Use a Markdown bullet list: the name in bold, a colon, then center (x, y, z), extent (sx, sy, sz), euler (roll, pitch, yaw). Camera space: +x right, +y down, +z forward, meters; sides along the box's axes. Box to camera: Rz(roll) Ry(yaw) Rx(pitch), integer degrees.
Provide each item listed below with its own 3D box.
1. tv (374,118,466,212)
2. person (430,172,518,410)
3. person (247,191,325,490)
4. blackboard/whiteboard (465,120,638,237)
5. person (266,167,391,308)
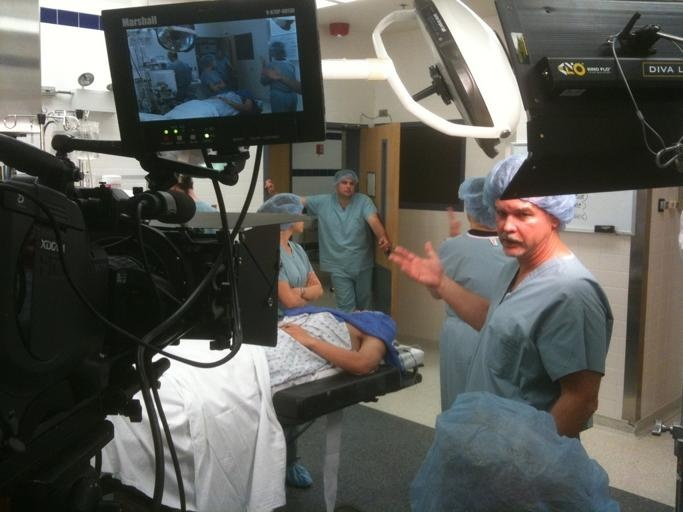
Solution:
- **tv**: center (0.828, -0.859, 5.502), extent (0.746, 0.805, 0.039), euler (5, 11, 22)
- **person**: center (0.665, 0.237, 2.844), extent (0.393, 1.317, 0.380), euler (8, -25, 6)
- **person**: center (-0.294, 0.464, 3.164), extent (0.349, 1.560, 0.395), euler (-1, -5, 15)
- **blackboard/whiteboard**: center (1.566, -0.761, 4.397), extent (1.274, 0.098, 0.955), euler (0, 41, 25)
- **person**: center (-0.047, 0.005, 5.220), extent (0.909, 1.563, 0.665), euler (-6, 11, 2)
